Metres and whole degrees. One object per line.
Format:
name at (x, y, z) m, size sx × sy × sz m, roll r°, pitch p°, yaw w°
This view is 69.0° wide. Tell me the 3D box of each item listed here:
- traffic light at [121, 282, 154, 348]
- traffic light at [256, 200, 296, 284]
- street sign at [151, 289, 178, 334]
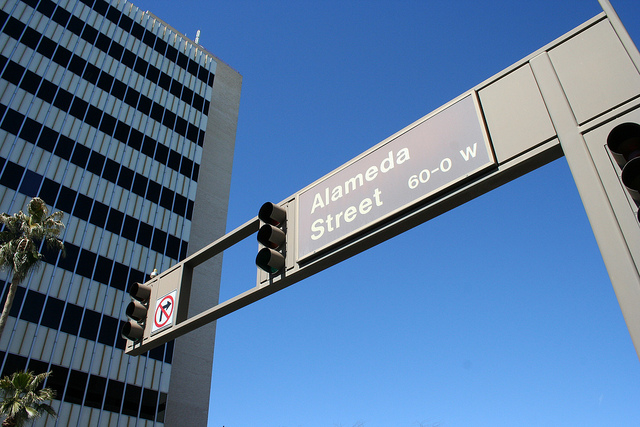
traffic light at (-3.120, 1.700, 7.881) m, size 0.390 × 1.038 × 0.475 m, roll 21°, pitch -40°, yaw -26°
traffic light at (-0.575, 0.441, 6.195) m, size 0.622 × 1.251 × 0.388 m, roll -21°, pitch -35°, yaw 31°
street sign at (-2.529, 1.612, 7.552) m, size 0.008 × 0.568 × 0.534 m, roll 29°, pitch -51°, yaw -32°
